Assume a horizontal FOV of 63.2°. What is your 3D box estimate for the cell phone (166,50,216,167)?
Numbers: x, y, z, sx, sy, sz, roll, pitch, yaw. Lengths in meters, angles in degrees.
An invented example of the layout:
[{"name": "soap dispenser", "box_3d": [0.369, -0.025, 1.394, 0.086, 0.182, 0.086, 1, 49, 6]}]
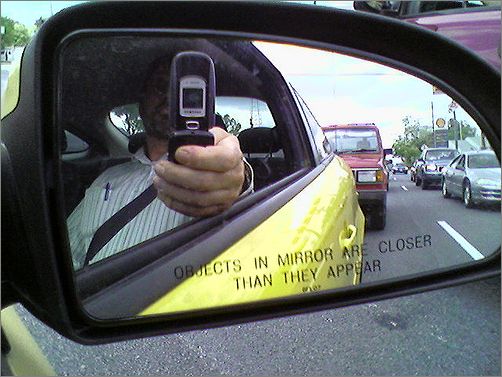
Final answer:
[{"name": "cell phone", "box_3d": [-0.165, -0.226, 1.112, 0.136, 0.294, 0.095, -4, 10, -9]}]
